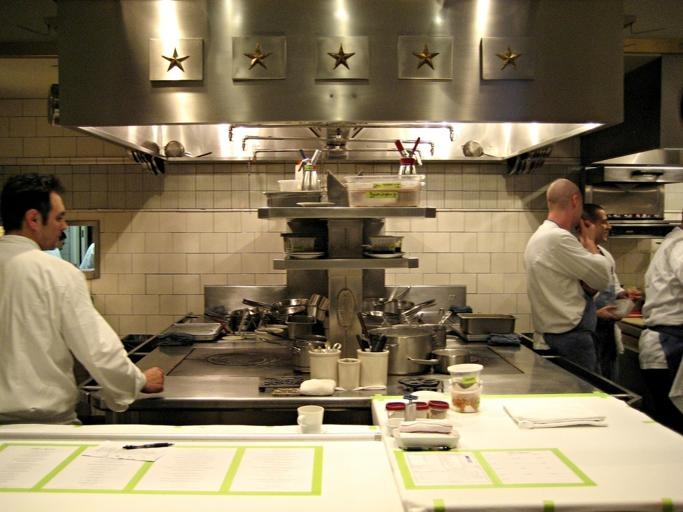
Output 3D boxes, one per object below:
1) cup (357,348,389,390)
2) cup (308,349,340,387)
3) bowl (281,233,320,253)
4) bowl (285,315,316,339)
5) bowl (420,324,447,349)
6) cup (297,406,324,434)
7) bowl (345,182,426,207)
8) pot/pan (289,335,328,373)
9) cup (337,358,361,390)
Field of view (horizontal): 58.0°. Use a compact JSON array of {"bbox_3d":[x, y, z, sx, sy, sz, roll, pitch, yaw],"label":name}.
[{"bbox_3d":[0.173,0.609,3.310,0.233,0.169,0.212,1,-4,0],"label":"cup"},{"bbox_3d":[-0.093,0.588,3.322,0.234,0.153,0.181,1,-2,-2],"label":"cup"},{"bbox_3d":[-0.258,-0.086,4.041,0.235,0.072,0.139,1,-3,-25],"label":"bowl"},{"bbox_3d":[-0.280,0.472,4.105,0.187,0.091,0.182,0,-2,0],"label":"bowl"},{"bbox_3d":[0.634,0.518,3.981,0.218,0.130,0.179,0,-1,-20],"label":"bowl"},{"bbox_3d":[-0.135,0.724,2.725,0.122,0.078,0.142,-1,-3,2],"label":"cup"},{"bbox_3d":[0.242,-0.337,3.469,0.336,0.072,0.176,0,-1,2],"label":"bowl"},{"bbox_3d":[-0.223,0.591,3.664,0.227,0.144,0.269,1,0,-41],"label":"pot/pan"},{"bbox_3d":[0.040,0.629,3.279,0.207,0.134,0.163,1,-2,3],"label":"cup"}]
